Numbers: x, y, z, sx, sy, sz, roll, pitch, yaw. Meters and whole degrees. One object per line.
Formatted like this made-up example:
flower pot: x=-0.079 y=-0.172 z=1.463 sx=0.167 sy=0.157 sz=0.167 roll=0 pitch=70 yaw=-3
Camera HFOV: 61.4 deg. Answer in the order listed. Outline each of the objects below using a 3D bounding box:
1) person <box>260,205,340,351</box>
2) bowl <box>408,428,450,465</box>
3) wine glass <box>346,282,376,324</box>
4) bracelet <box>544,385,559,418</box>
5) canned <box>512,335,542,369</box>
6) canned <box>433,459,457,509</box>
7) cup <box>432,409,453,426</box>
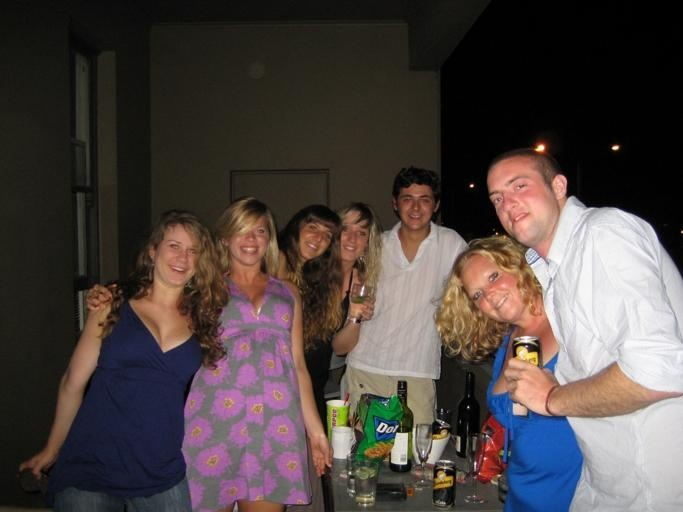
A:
person: x=-0.232 y=0.124 z=3.580 sx=0.518 sy=0.750 sz=0.291 roll=9 pitch=-5 yaw=-25
bowl: x=0.423 y=0.880 z=2.757 sx=0.191 sy=0.166 sz=0.183 roll=2 pitch=-6 yaw=0
wine glass: x=0.108 y=0.273 z=3.174 sx=0.185 sy=0.186 sz=0.291 roll=-2 pitch=-29 yaw=-3
bracelet: x=0.774 y=0.540 z=2.142 sx=0.021 sy=0.086 sz=0.090 roll=7 pitch=-26 yaw=11
canned: x=0.741 y=0.380 z=2.286 sx=0.109 sy=0.203 sz=0.112 roll=0 pitch=-3 yaw=6
canned: x=0.448 y=0.969 z=2.466 sx=0.124 sy=0.188 sz=0.099 roll=0 pitch=-2 yaw=-10
cup: x=0.498 y=0.780 z=2.797 sx=0.093 sy=0.108 sz=0.099 roll=1 pitch=-11 yaw=0
